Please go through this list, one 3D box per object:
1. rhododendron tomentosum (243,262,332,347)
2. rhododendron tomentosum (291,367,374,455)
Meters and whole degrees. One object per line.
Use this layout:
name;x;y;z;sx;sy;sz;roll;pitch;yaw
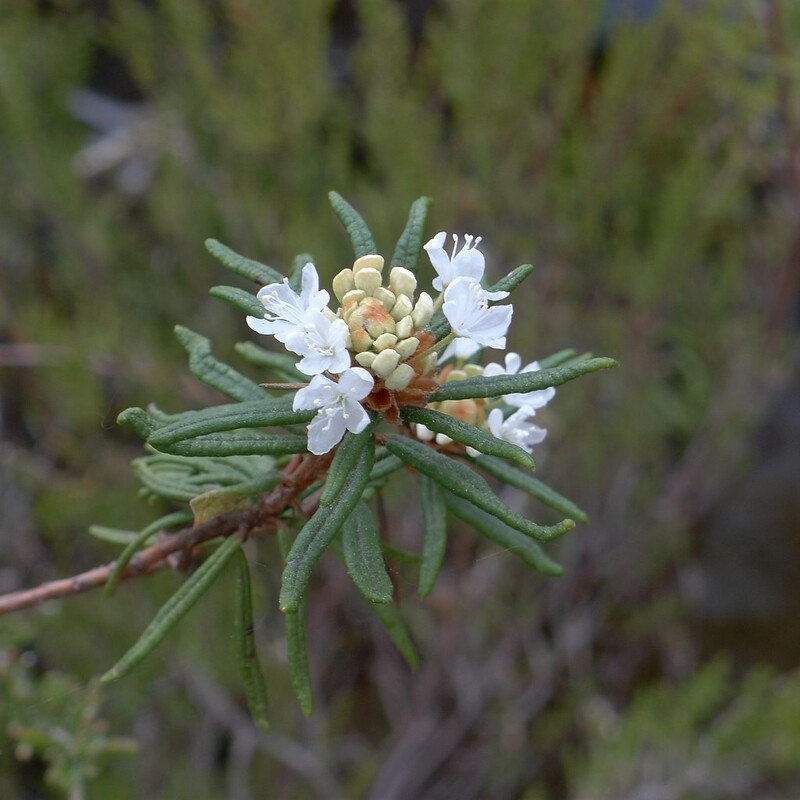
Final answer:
rhododendron tomentosum;-0.256;-0.231;2.083;0.173;0.194;0.121;-16;-41;6
rhododendron tomentosum;-0.132;0.018;2.058;0.175;0.089;0.146;-16;-45;4
